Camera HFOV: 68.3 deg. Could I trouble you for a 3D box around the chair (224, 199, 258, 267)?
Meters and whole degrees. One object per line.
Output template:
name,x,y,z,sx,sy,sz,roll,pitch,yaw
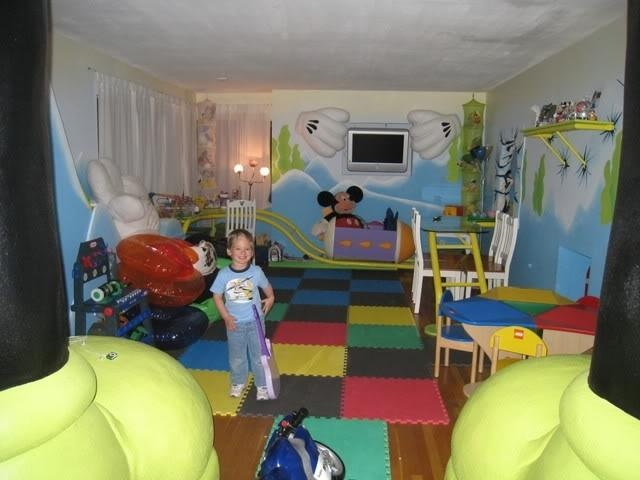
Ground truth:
chair,-1.244,-0.068,7.423,0.497,0.992,0.578,2,33,-3

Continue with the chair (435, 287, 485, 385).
chair,1.153,0.813,3.924,0.398,0.630,0.392,4,-3,44

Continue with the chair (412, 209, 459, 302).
chair,1.374,0.187,5.666,0.555,1.089,0.588,0,14,7

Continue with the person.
person,-0.554,0.537,3.353,0.433,1.228,0.655,-1,11,-8

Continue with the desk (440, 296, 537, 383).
desk,1.118,0.750,3.699,0.573,0.537,0.508,3,3,23

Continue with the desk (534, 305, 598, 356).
desk,1.769,0.655,3.351,0.581,0.277,0.336,-8,14,-39

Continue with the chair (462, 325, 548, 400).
chair,1.385,0.904,3.460,0.408,0.599,0.431,12,8,1

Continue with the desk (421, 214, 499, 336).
desk,1.566,0.244,5.485,0.755,0.898,0.770,-9,18,-2
